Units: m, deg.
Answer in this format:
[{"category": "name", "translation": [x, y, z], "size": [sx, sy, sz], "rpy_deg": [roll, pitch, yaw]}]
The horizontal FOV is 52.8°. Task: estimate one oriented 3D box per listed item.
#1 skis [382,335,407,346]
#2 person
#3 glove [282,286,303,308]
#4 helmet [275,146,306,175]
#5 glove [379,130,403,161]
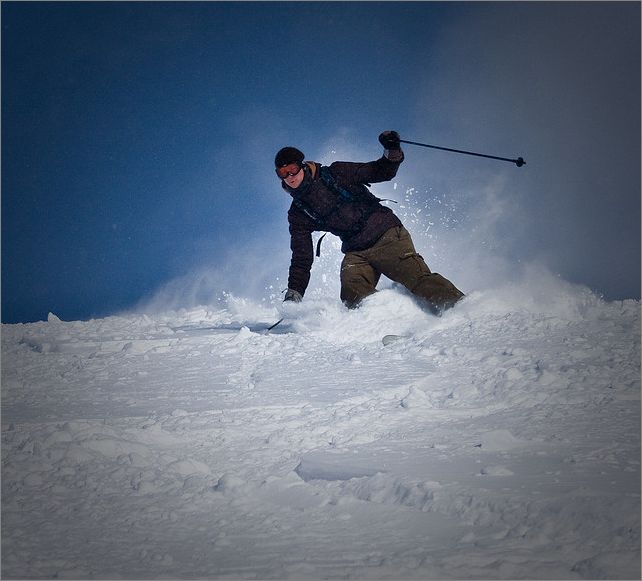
[{"category": "skis", "translation": [0.467, 0.316, 4.109], "size": [0.029, 0.047, 0.191], "rpy_deg": [-10, -4, 40]}, {"category": "person", "translation": [0.309, -0.500, 4.841], "size": [1.299, 1.271, 0.687], "rpy_deg": [-1, 11, 18]}, {"category": "glove", "translation": [-0.218, 0.055, 4.947], "size": [0.150, 0.180, 0.416], "rpy_deg": [0, -11, -3]}, {"category": "helmet", "translation": [-0.209, -0.945, 4.715], "size": [0.247, 0.196, 0.221], "rpy_deg": [-8, 10, -21]}, {"category": "glove", "translation": [0.488, -0.992, 4.444], "size": [0.148, 0.195, 0.297], "rpy_deg": [-3, 10, 8]}]
